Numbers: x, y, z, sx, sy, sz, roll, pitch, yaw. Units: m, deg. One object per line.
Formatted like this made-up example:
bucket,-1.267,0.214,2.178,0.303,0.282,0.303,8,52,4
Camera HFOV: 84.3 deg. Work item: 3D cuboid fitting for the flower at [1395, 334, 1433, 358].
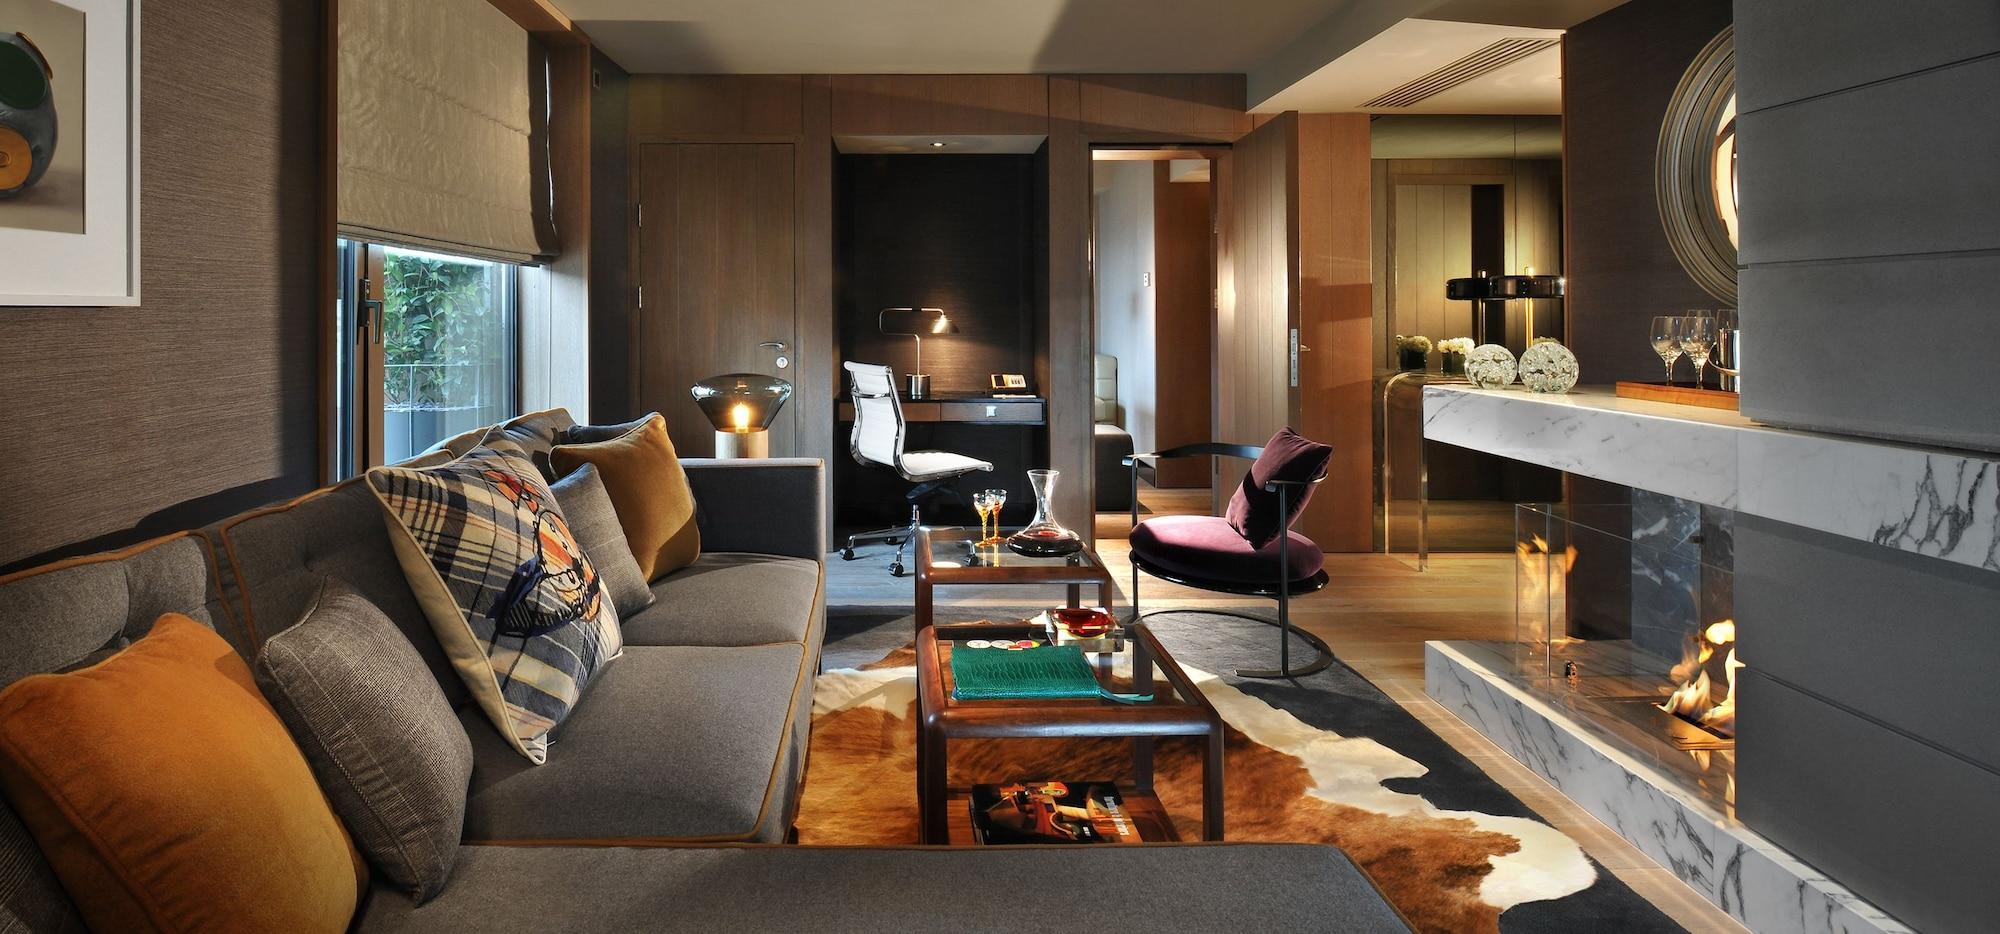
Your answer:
flower,2.846,-0.833,7.580,0.254,0.121,0.224,0,7,10

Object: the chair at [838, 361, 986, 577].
chair,-0.541,0.013,7.821,1.110,1.283,1.085,-1,7,-39

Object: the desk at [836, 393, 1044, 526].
desk,-0.569,0.022,8.390,1.694,0.948,0.834,0,-6,-20

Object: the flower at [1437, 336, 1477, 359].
flower,3.112,-0.786,7.514,0.218,0.096,0.266,3,4,40

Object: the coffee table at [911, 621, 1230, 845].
coffee table,0.221,1.234,4.671,1.256,0.681,1.546,1,0,1

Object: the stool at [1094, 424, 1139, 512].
stool,0.908,0.036,8.899,0.505,0.512,0.833,-1,0,2

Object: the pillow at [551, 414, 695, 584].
pillow,-1.661,0.167,4.820,0.290,0.553,0.764,-12,7,17

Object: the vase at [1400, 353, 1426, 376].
vase,2.789,-0.690,7.553,0.206,0.161,0.135,1,5,14

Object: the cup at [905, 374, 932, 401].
cup,-0.611,-0.588,8.323,0.230,0.170,0.198,1,0,8

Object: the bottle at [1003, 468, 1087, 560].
bottle,0.211,0.261,5.470,0.462,0.401,0.418,-5,6,-14

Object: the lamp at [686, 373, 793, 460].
lamp,-1.385,-0.268,6.335,0.618,0.570,0.619,-1,1,-41
